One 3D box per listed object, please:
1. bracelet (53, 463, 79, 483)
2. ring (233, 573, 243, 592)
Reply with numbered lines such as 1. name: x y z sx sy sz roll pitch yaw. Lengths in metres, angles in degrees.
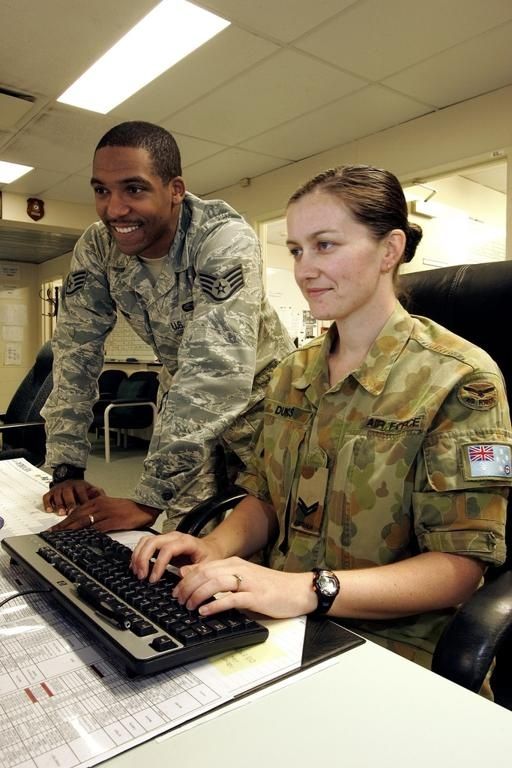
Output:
1. bracelet: -0.433 0.203 1.298 0.043 0.031 0.055 -13 -16 23
2. ring: -0.021 0.229 0.653 0.006 0.014 0.011 -30 -31 -1
